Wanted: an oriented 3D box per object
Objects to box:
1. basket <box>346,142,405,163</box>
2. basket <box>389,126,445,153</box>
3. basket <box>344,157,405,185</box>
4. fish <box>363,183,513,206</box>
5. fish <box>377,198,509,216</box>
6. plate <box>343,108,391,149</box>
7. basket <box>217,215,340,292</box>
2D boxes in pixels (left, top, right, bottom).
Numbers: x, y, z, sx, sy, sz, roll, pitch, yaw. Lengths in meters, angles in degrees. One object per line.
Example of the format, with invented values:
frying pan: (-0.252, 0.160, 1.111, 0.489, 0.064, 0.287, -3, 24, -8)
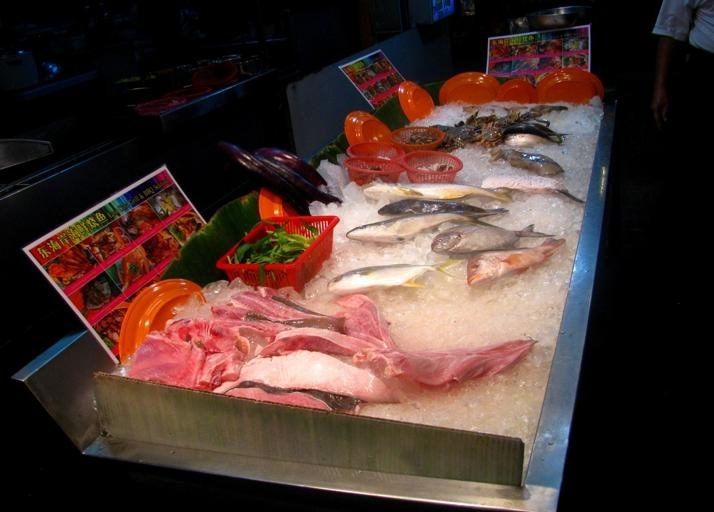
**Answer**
basket: (0.080, -0.588, 2.679, 0.211, 0.045, 0.187, -7, 25, -20)
basket: (0.381, -0.713, 2.912, 0.247, 0.083, 0.243, 17, 36, 28)
basket: (0.085, -0.455, 2.552, 0.215, 0.079, 0.197, -24, 37, -39)
fish: (0.382, -0.292, 2.321, 0.609, 0.093, 0.122, 0, 60, 0)
fish: (0.396, -0.227, 2.235, 0.366, 0.058, 0.096, 0, 34, 3)
plate: (0.020, -0.834, 3.127, 0.324, 0.337, 0.075, 36, 95, 32)
basket: (-0.275, -0.019, 2.009, 0.360, 0.132, 0.412, 4, 34, 23)
